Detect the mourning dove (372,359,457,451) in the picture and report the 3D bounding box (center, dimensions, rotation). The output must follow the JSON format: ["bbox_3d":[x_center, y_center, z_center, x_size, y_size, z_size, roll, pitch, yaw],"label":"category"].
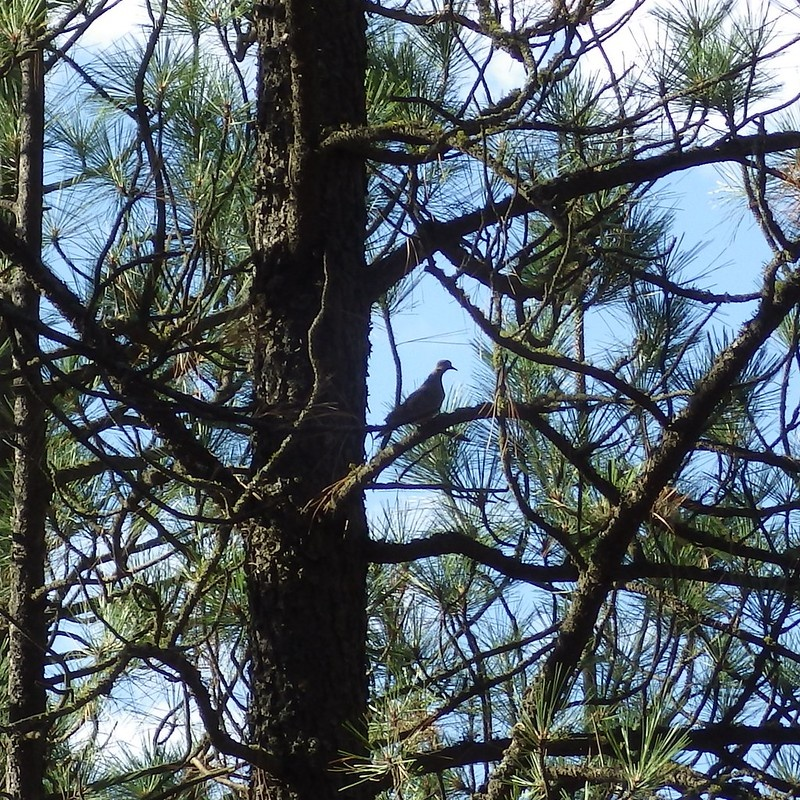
[{"bbox_3d":[0.037,0.014,9.135,0.314,0.280,0.123,-16,-27,-11],"label":"mourning dove"}]
